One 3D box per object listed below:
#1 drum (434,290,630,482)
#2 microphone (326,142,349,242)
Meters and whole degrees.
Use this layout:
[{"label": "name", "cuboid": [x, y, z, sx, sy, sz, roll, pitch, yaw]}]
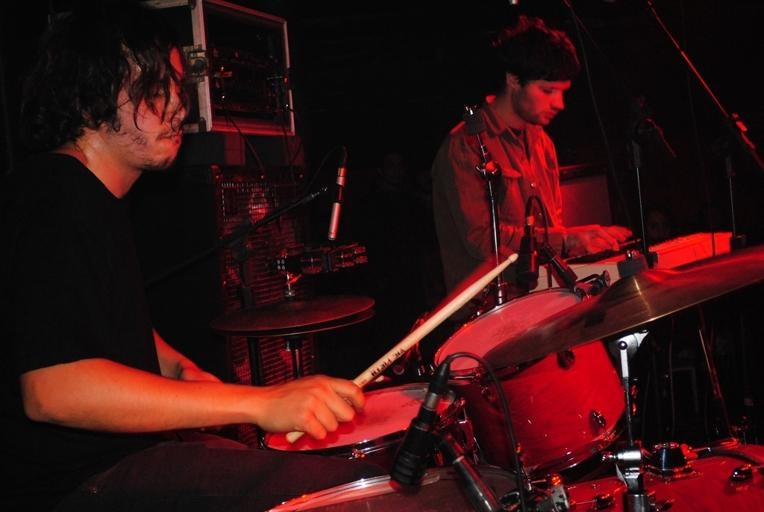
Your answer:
[{"label": "drum", "cuboid": [0.726, 0.567, 2.583, 0.514, 0.381, 0.487, -18, -14, -5]}, {"label": "microphone", "cuboid": [-0.211, -0.293, 3.062, 0.072, 0.487, 0.067, 18, 20, 23]}]
